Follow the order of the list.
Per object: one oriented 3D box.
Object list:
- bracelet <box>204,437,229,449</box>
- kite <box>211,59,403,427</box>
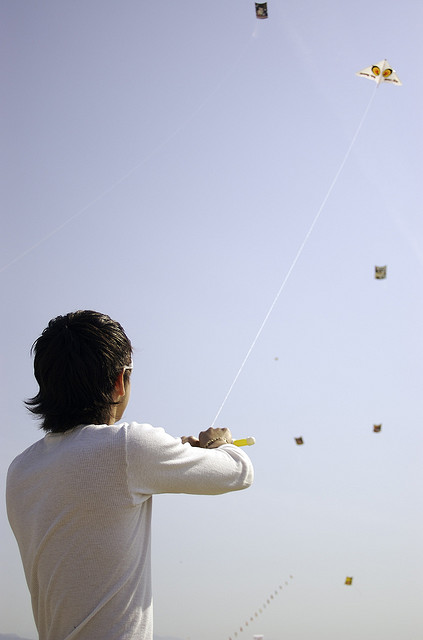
[{"bbox_3d":[0.013,0.242,1.711,0.054,0.025,0.020,10,-35,-28],"label":"bracelet"},{"bbox_3d":[0.317,-0.201,2.734,0.176,1.276,0.106,30,-3,26],"label":"kite"}]
